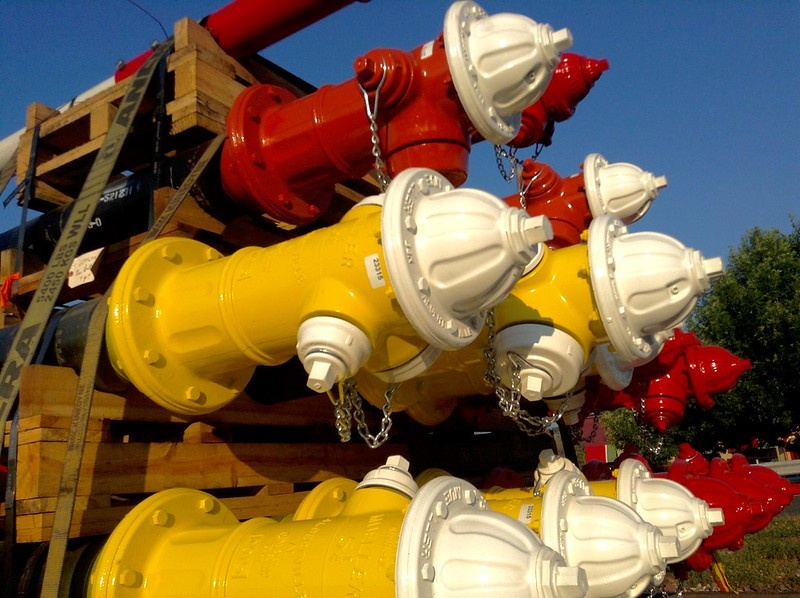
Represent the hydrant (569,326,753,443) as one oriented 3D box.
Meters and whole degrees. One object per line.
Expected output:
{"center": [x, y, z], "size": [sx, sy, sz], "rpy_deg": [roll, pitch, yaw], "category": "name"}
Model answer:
{"center": [2.088, 0.612, 6.396], "size": [1.307, 0.910, 0.717], "rpy_deg": [-28, -25, 10], "category": "hydrant"}
